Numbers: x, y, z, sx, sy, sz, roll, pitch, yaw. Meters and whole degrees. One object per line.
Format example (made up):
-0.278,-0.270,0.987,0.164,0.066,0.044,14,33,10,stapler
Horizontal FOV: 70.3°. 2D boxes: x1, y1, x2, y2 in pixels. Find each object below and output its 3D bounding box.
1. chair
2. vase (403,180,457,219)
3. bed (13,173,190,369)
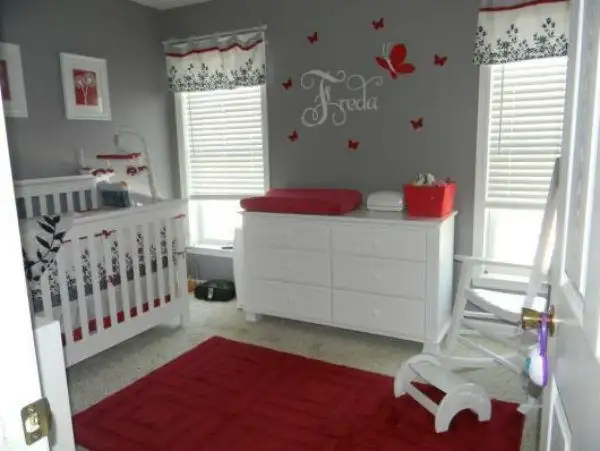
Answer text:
1.150,0.264,2.548,0.585,1.323,1.213,7,16,30,chair
0.865,-0.188,2.822,0.301,0.189,0.241,-8,10,-41,vase
-1.528,0.269,3.049,0.941,1.171,1.181,6,16,29,bed
